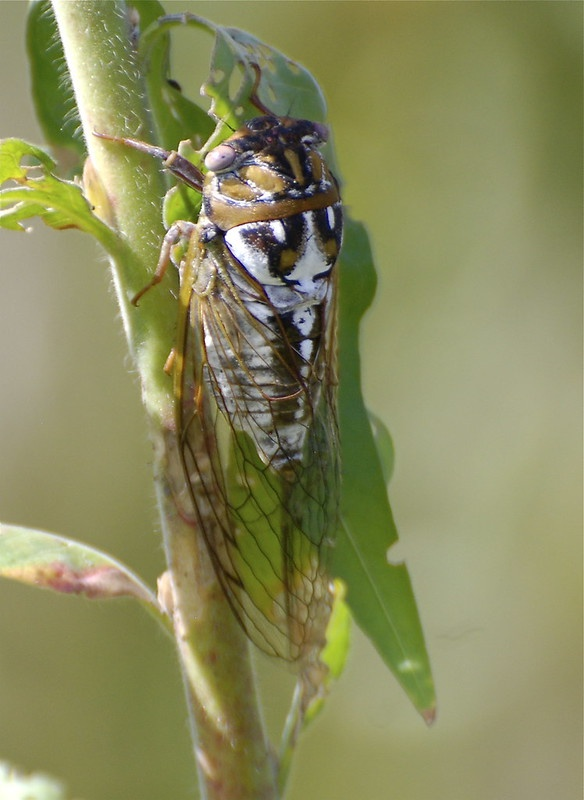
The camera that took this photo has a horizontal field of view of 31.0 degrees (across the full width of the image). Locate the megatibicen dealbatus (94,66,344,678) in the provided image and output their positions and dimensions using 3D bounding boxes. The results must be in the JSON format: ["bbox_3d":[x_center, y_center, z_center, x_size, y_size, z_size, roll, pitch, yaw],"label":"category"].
[{"bbox_3d":[-0.068,-0.040,1.046,0.215,0.160,0.561,-6,-82,-31],"label":"megatibicen dealbatus"}]
